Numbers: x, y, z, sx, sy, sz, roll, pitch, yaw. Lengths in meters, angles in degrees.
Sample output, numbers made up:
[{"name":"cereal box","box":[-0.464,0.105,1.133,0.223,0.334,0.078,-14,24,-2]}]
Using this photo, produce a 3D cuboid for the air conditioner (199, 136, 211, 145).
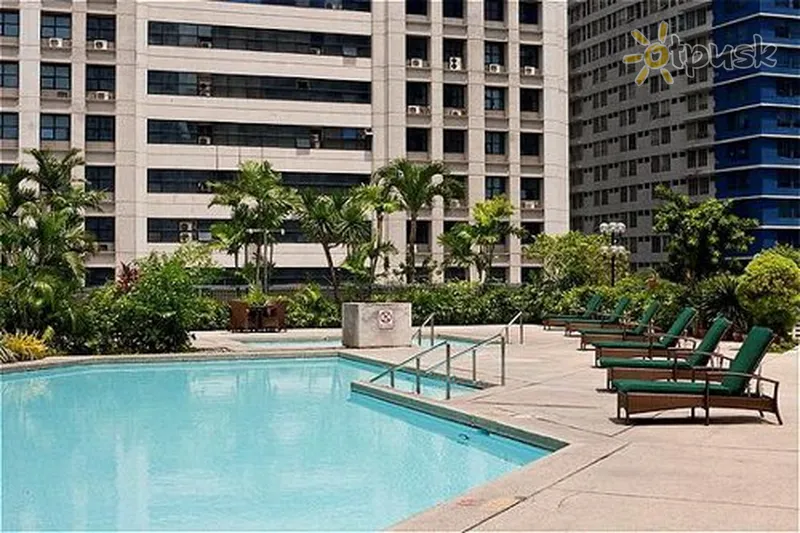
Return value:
[{"name":"air conditioner","box":[-12.447,-8.055,63.895,0.894,0.470,0.615,3,-8,-11]}]

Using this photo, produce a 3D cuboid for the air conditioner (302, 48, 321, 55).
[{"name":"air conditioner","box":[-5.669,-14.145,65.641,0.991,0.531,0.275,-5,13,-8]}]

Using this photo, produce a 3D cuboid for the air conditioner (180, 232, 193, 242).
[{"name":"air conditioner","box":[-13.471,-1.913,63.038,0.800,0.779,0.416,2,-4,-5]}]

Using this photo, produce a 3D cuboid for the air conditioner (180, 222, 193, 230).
[{"name":"air conditioner","box":[-13.505,-2.584,63.451,0.812,0.564,0.442,1,2,-1]}]

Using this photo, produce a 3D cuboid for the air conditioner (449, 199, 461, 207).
[{"name":"air conditioner","box":[3.763,-4.263,67.054,0.366,0.655,1.021,1,14,21]}]

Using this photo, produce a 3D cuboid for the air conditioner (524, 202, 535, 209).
[{"name":"air conditioner","box":[8.811,-4.243,68.655,0.717,0.506,0.417,0,3,0]}]

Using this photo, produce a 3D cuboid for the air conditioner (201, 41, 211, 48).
[{"name":"air conditioner","box":[-12.417,-14.195,64.175,0.778,0.563,0.429,1,4,2]}]

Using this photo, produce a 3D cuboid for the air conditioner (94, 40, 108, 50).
[{"name":"air conditioner","box":[-18.711,-13.889,62.744,0.878,0.562,0.370,-7,13,-16]}]
